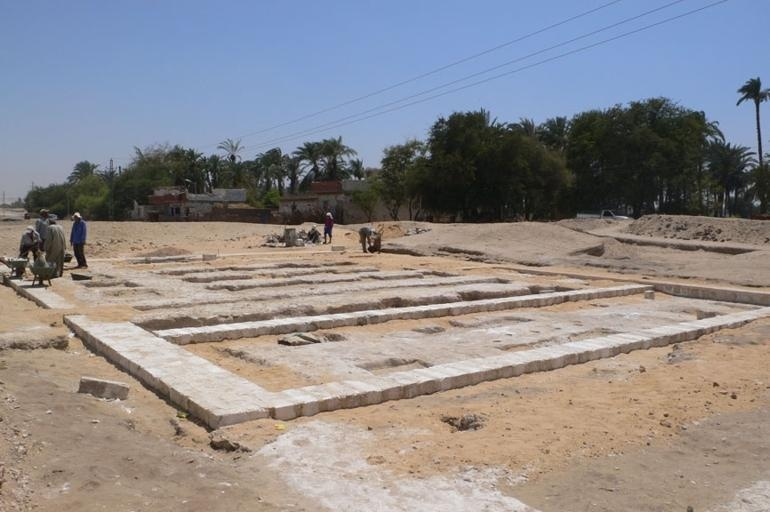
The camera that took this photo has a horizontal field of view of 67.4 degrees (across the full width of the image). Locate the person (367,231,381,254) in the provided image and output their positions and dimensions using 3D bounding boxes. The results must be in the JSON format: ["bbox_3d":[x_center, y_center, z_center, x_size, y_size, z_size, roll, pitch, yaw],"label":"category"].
[{"bbox_3d":[-0.454,-0.589,23.997,0.330,0.893,0.561,14,19,40],"label":"person"}]

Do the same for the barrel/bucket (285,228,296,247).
[{"bbox_3d":[-4.371,-0.890,26.701,0.560,0.723,0.901,-1,13,-11],"label":"barrel/bucket"}]
